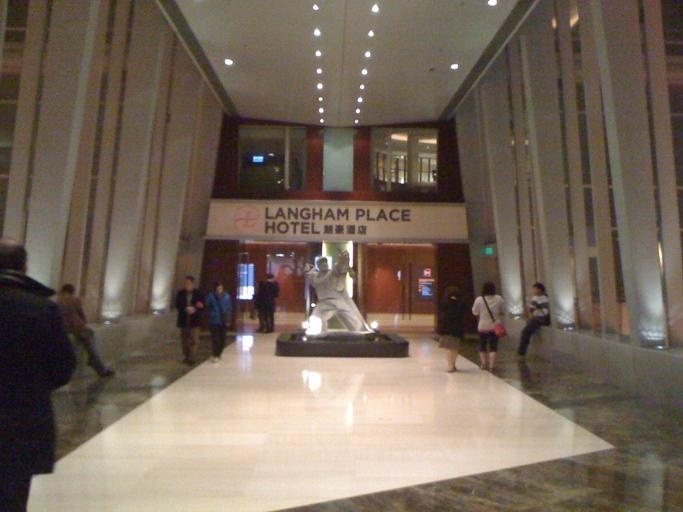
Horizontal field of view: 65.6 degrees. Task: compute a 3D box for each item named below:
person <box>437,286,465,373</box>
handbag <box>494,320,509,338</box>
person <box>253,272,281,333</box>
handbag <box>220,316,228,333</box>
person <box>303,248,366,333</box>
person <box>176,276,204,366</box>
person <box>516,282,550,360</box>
[{"bbox_3d":[2.170,1.433,10.459,0.442,1.677,1.412,0,-1,12],"label":"person"},{"bbox_3d":[3.014,1.392,10.122,0.197,0.294,0.200,0,-1,10],"label":"handbag"},{"bbox_3d":[-2.366,1.474,16.615,0.684,1.856,0.523,1,-1,-4],"label":"person"},{"bbox_3d":[-2.420,1.393,10.825,0.118,0.222,0.415,-25,-12,-15],"label":"handbag"},{"bbox_3d":[-0.187,0.948,13.070,1.370,1.858,0.783,1,-1,-5],"label":"person"},{"bbox_3d":[-3.074,1.292,10.660,0.544,1.774,1.050,1,-1,-18],"label":"person"},{"bbox_3d":[4.380,1.467,12.097,0.694,1.715,1.248,0,-1,19],"label":"person"}]
